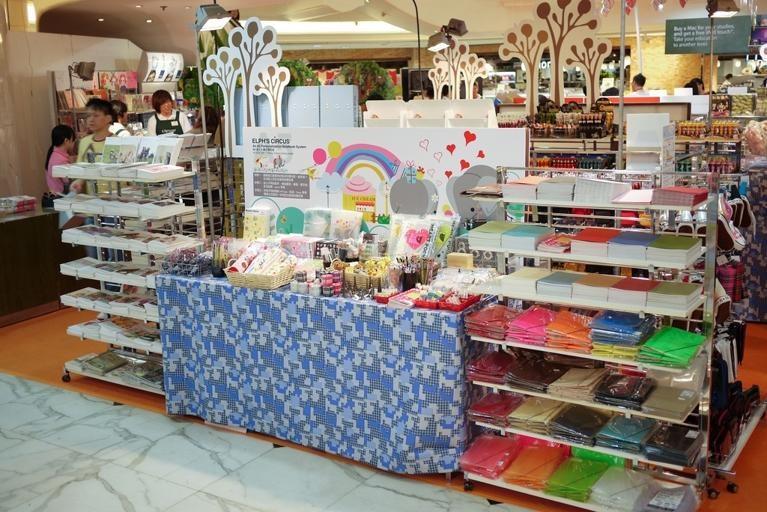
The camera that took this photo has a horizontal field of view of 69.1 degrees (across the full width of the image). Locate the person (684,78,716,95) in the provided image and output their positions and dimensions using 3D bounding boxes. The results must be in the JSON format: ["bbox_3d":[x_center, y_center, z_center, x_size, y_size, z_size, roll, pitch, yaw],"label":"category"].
[{"bbox_3d":[6.160,-3.364,10.987,0.248,0.331,1.992,7,17,29],"label":"person"}]
